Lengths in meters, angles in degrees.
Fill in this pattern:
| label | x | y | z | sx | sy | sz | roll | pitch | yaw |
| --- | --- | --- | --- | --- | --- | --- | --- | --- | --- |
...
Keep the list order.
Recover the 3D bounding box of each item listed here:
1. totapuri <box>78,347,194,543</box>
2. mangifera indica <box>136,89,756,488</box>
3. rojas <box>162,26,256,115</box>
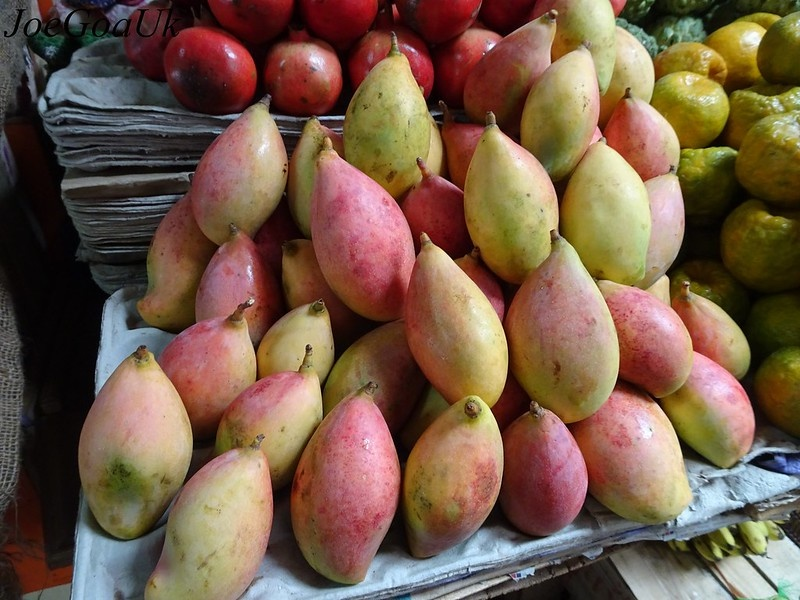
| label | x | y | z | sx | sy | sz | roll | pitch | yaw |
| --- | --- | --- | --- | --- | --- | --- | --- | --- | --- |
| totapuri | -0.461 | 0.242 | 1.462 | 0.196 | 0.345 | 0.313 | -13 | 30 | -29 |
| mangifera indica | 0.068 | 0.092 | 1.761 | 0.843 | 0.367 | 0.946 | 24 | 63 | -3 |
| rojas | -0.440 | -0.528 | 1.828 | 0.151 | 0.218 | 0.179 | 6 | 78 | 15 |
